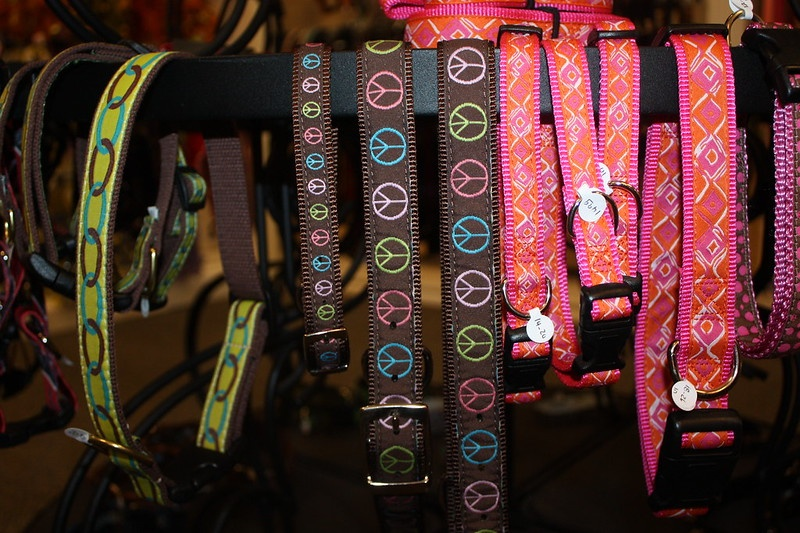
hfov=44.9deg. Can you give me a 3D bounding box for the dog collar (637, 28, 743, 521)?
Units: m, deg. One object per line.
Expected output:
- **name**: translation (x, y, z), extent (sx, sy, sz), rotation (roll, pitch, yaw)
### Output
- **dog collar**: translation (0.509, 0.019, 1.707), extent (0.177, 0.843, 0.229), rotation (2, 16, 14)
